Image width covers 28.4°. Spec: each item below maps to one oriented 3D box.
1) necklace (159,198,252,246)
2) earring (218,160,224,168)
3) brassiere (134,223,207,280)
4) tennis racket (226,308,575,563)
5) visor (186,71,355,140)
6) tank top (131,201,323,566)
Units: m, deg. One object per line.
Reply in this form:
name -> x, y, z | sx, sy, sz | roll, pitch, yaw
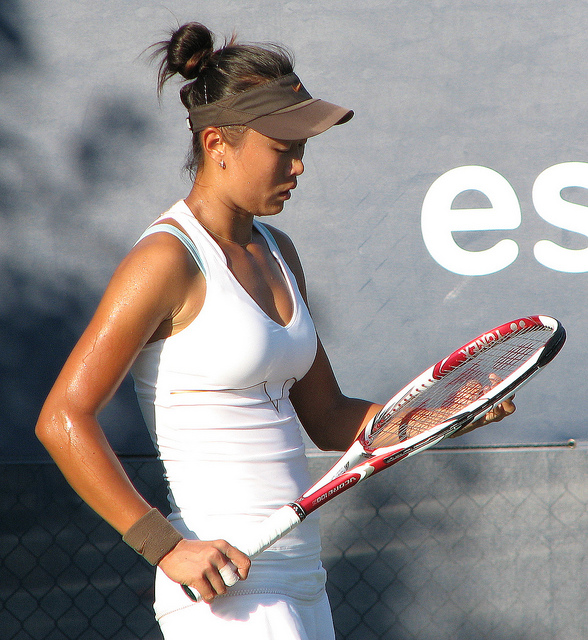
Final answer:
necklace -> -0.251, -0.283, 3.370 | 0.234, 0.102, 0.152 | -8, 24, -28
earring -> -0.209, -0.457, 3.397 | 0.025, 0.023, 0.009 | 1, 6, -7
brassiere -> -0.346, -0.193, 3.310 | 0.223, 0.141, 0.187 | -10, 24, -29
tennis racket -> 0.377, 0.304, 3.561 | 1.676, 0.077, 0.421 | -22, 16, -12
visor -> -0.065, -0.601, 3.399 | 0.453, 0.105, 0.231 | -5, 9, 16
tank top -> -0.250, 0.179, 3.467 | 0.550, 0.953, 0.579 | -4, 1, 22
